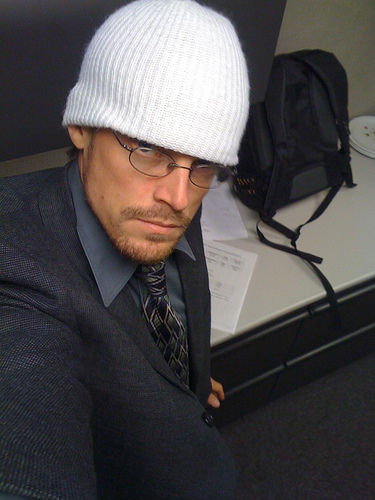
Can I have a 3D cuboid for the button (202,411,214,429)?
[{"bbox_3d":[0.035,0.294,0.741,0.017,0.045,0.027,-18,56,-10],"label":"button"}]
